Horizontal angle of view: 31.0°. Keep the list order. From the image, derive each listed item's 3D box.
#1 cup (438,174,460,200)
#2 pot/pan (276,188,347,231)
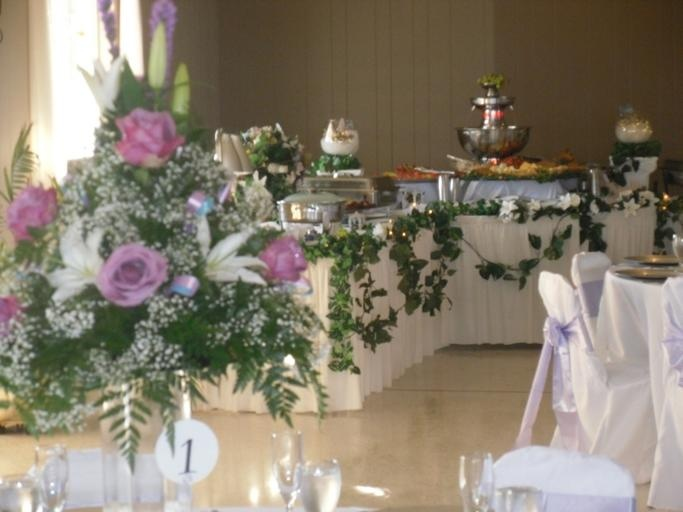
[{"bbox_3d":[0.752,-0.488,8.638,0.157,0.267,0.159,2,5,0],"label":"cup"},{"bbox_3d":[-0.160,-0.281,7.277,0.384,0.235,0.407,-3,8,-23],"label":"pot/pan"}]
